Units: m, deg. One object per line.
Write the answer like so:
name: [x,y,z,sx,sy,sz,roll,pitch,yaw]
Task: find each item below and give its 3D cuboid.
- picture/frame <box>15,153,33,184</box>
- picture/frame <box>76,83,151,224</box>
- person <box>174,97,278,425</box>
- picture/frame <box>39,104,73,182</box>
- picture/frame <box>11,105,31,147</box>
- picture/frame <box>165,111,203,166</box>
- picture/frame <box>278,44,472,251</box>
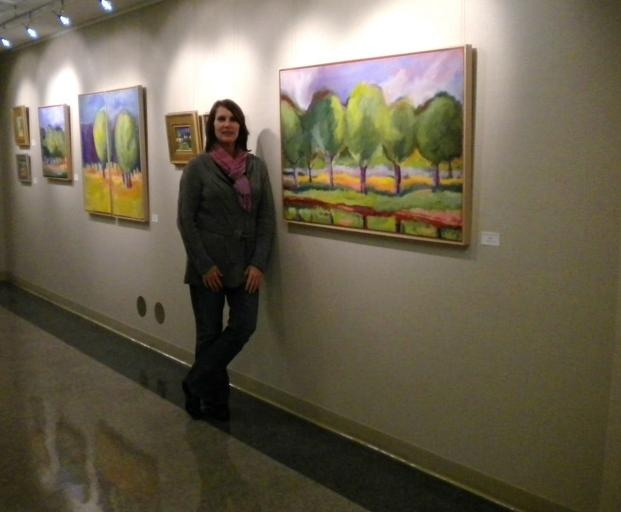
picture/frame: [-3.916,-1.209,6.678,0.356,0.382,0.060,14,15,40]
picture/frame: [-1.979,-1.070,4.963,0.082,1.336,1.230,-8,14,-40]
person: [-0.594,0.026,3.528,0.696,2.261,0.368,-2,7,-20]
picture/frame: [-3.058,-1.392,5.881,0.121,1.007,0.742,-7,14,-43]
picture/frame: [-3.913,-1.775,6.601,0.113,0.572,0.440,-15,25,-43]
picture/frame: [-1.051,-0.997,4.096,0.472,0.565,0.080,10,16,39]
picture/frame: [0.409,-0.656,2.855,1.100,0.936,0.042,8,13,37]
